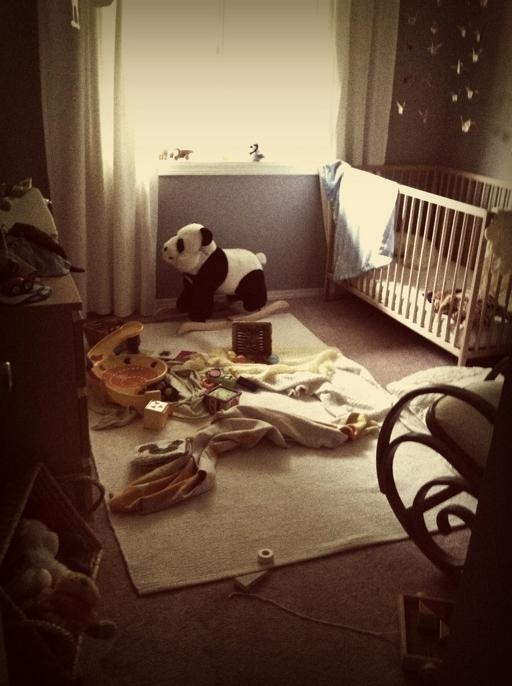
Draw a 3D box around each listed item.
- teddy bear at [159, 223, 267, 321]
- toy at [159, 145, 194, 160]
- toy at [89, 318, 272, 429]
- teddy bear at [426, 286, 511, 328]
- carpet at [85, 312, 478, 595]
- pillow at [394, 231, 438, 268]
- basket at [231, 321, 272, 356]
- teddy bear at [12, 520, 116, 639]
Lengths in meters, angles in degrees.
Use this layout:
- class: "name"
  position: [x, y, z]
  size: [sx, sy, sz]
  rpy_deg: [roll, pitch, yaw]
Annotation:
- class: "teddy bear"
  position: [-0.258, -0.474, 3.295]
  size: [0.758, 0.719, 0.447]
  rpy_deg: [-1, 20, -11]
- class: "toy"
  position: [-0.516, -1.214, 3.296]
  size: [0.215, 0.083, 0.115]
  rpy_deg: [-2, 17, -12]
- class: "toy"
  position: [-0.456, 0.169, 2.454]
  size: [0.580, 0.200, 0.494]
  rpy_deg: [-7, 30, -25]
- class: "teddy bear"
  position: [1.141, -0.182, 2.678]
  size: [0.281, 0.093, 0.235]
  rpy_deg: [-4, 26, -30]
- class: "carpet"
  position: [-0.121, 0.272, 2.700]
  size: [1.581, 0.044, 2.586]
  rpy_deg: [-16, 18, -17]
- class: "pillow"
  position: [1.025, -0.591, 3.295]
  size: [0.247, 0.132, 0.331]
  rpy_deg: [-24, 38, -35]
- class: "basket"
  position: [-0.025, 0.004, 2.701]
  size: [0.175, 0.194, 0.057]
  rpy_deg: [0, 19, 6]
- class: "teddy bear"
  position: [-0.435, 0.436, 1.096]
  size: [0.176, 0.102, 0.271]
  rpy_deg: [34, 11, -50]
